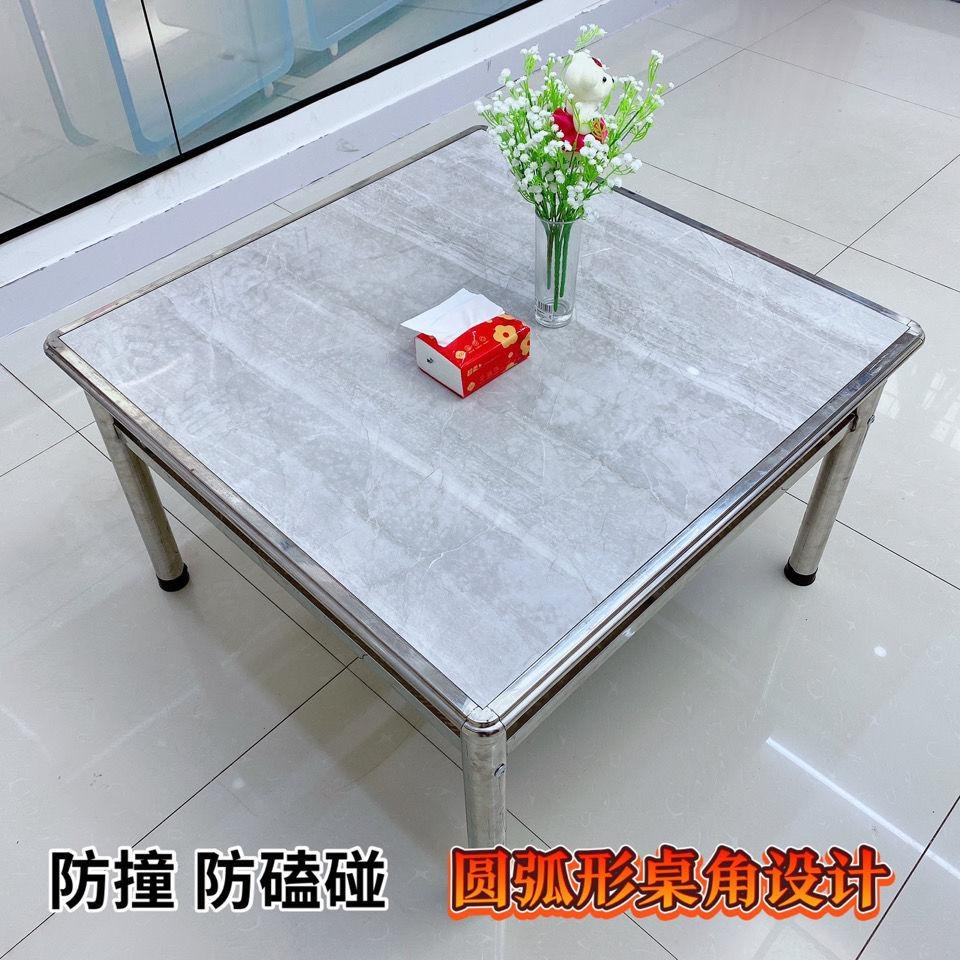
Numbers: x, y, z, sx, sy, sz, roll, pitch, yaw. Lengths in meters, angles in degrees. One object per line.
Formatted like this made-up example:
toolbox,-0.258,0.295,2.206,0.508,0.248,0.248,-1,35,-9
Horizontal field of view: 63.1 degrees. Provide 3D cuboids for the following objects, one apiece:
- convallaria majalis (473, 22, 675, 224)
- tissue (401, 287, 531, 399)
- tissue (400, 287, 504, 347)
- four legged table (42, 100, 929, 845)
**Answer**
convallaria majalis,0.138,-0.532,1.241,0.274,0.321,0.295,-1,47,-1
tissue,-0.019,-0.191,1.267,0.209,0.214,0.062,-4,44,-21
tissue,-0.043,-0.266,1.276,0.109,0.021,0.141,26,48,34
four legged table,-0.077,0.112,1.709,1.255,0.767,1.258,-38,58,-26
